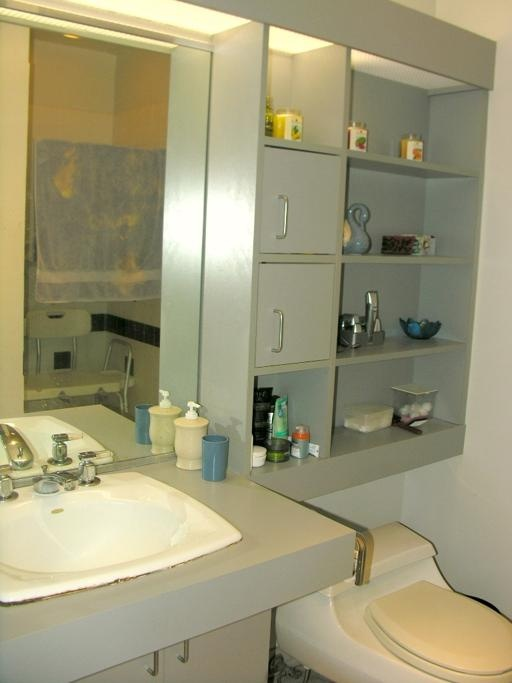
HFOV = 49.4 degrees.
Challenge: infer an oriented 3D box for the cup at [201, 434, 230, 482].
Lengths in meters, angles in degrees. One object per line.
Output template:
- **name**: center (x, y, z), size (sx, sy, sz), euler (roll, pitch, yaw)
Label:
- **cup**: center (-0.105, 0.293, 1.380), size (0.070, 0.108, 0.052), euler (-2, 7, 3)

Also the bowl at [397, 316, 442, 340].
- **bowl**: center (0.618, -0.046, 2.111), size (0.106, 0.055, 0.104), euler (3, 1, 0)

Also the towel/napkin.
- **towel/napkin**: center (-0.397, -0.294, 1.336), size (0.404, 0.401, 0.047), euler (-8, 20, -37)
